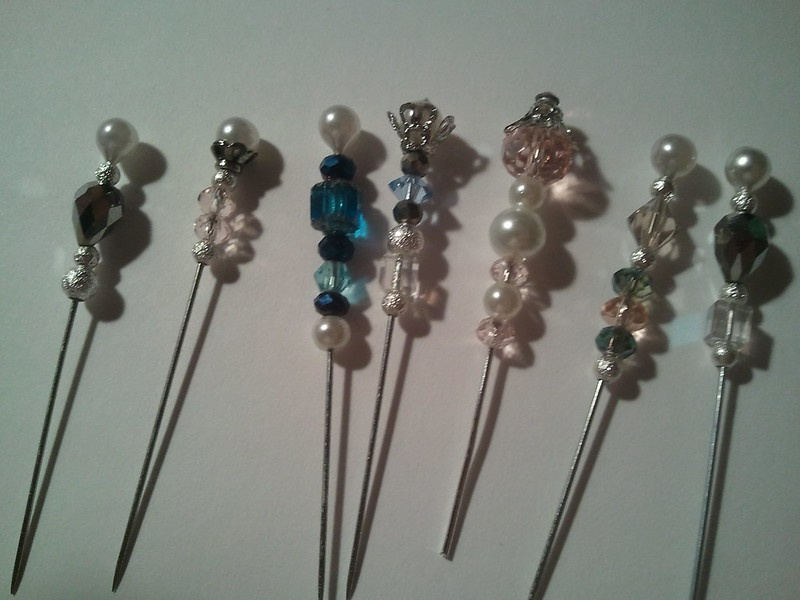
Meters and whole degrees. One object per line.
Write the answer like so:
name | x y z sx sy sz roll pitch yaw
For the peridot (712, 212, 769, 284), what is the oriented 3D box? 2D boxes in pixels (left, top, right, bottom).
peridot | 0.869 -0.131 2.348 0.155 0.176 0.125 3 -22 5

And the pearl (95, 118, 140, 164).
pearl | -0.774 -0.431 2.508 0.110 0.135 0.107 14 -10 -12

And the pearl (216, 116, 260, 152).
pearl | -0.428 -0.445 2.500 0.095 0.092 0.102 -21 -15 -8

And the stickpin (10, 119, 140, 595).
stickpin | -0.826 0.077 2.447 0.201 1.443 0.180 17 -6 -23

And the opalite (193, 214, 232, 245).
opalite | -0.500 -0.191 2.455 0.022 0.092 0.090 -4 -63 56

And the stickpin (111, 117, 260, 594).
stickpin | -0.562 0.193 2.422 0.141 1.229 0.256 13 -12 6

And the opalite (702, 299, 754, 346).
opalite | 0.825 0.055 2.340 0.120 0.113 0.121 2 -6 13
